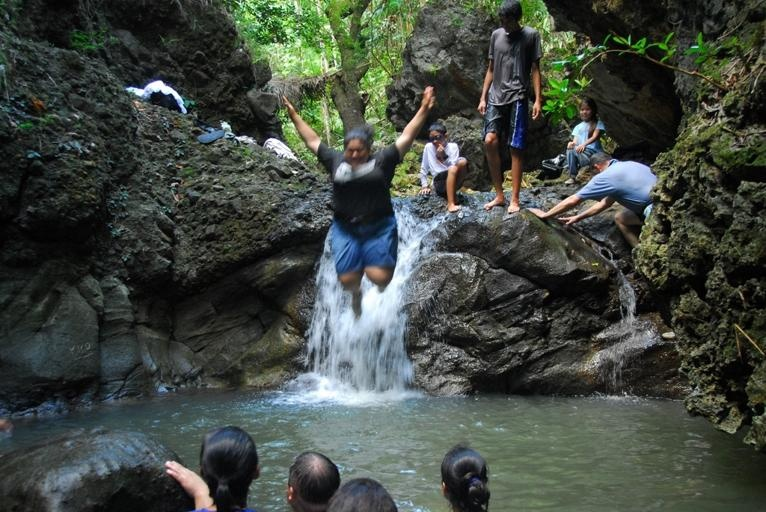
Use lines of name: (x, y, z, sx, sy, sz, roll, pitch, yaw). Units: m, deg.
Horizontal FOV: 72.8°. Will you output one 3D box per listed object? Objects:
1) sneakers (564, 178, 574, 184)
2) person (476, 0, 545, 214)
sneakers: (3.973, -1.601, 11.054, 0.128, 0.073, 0.158, 11, 22, 32)
person: (2.061, -2.422, 8.677, 0.798, 3.339, 0.990, -2, 2, -32)
